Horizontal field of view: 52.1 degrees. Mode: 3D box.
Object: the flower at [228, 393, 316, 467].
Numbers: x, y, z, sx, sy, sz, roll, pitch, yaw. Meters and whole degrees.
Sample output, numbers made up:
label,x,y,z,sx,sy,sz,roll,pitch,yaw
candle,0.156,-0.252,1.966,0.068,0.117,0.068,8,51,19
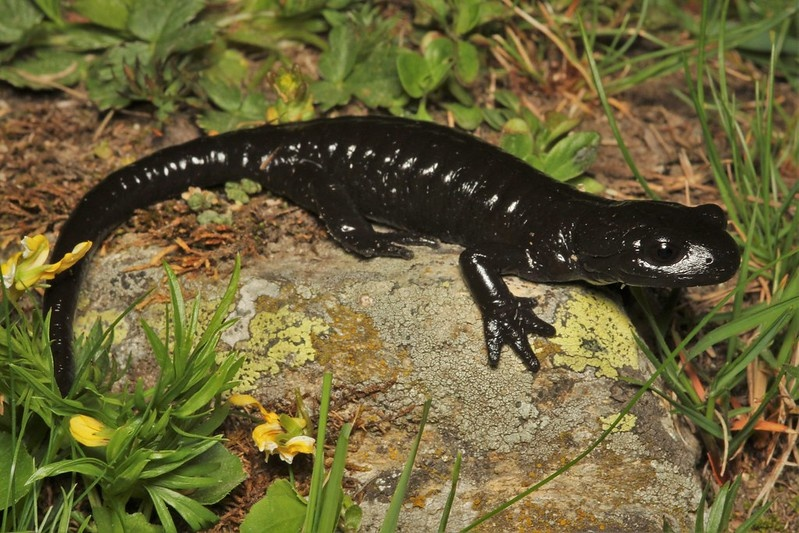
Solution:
label,x,y,z,sx,sy,sz,roll,pitch,yaw
flower,-0.672,1.001,4.654,0.512,0.212,0.155,4,95,34
